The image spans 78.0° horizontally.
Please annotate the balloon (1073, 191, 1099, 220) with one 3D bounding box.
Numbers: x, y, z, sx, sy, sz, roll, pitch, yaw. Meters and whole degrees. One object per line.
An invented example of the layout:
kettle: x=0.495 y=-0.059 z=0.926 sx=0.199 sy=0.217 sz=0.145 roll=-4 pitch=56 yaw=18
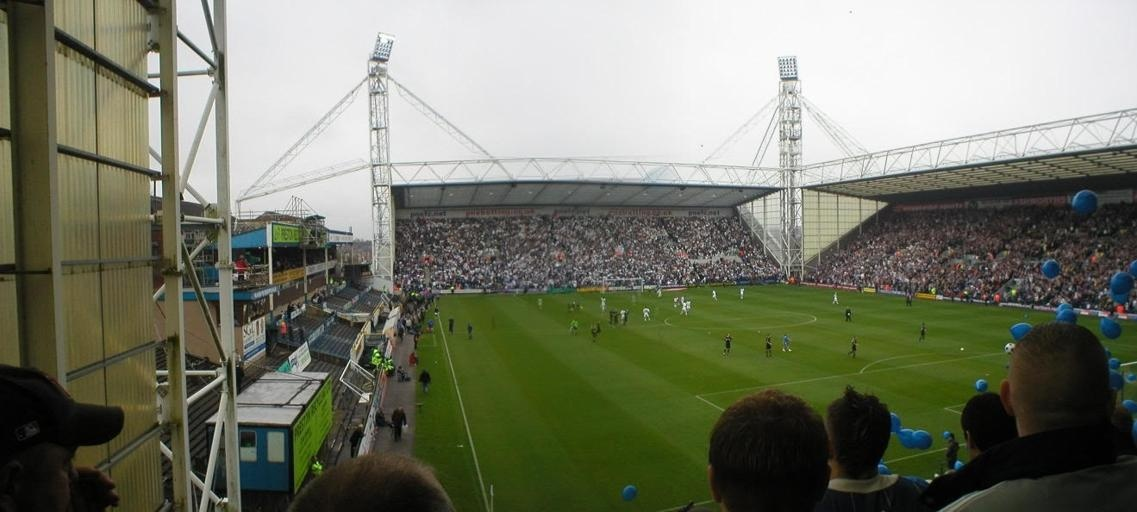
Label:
balloon: x=27.046 y=-2.800 z=36.637 sx=0.814 sy=1.207 sz=1.891 roll=6 pitch=10 yaw=40
